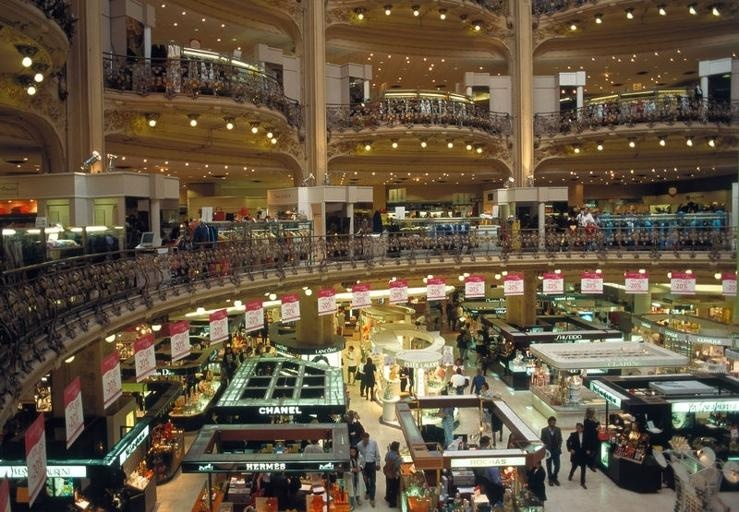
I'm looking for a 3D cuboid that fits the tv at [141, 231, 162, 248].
[{"bbox_3d":[-5.450,-0.389,15.747,0.427,0.464,0.247,1,-7,-19],"label":"tv"}]

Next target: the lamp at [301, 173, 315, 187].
[{"bbox_3d":[-2.347,-2.886,24.256,0.474,0.472,0.773,-1,6,-4],"label":"lamp"}]

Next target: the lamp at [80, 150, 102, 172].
[{"bbox_3d":[-7.438,-2.486,16.825,0.497,0.179,0.503,-16,27,-2],"label":"lamp"}]

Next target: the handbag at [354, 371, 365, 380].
[{"bbox_3d":[-0.355,4.244,22.103,0.379,0.449,0.408,1,-3,-1],"label":"handbag"}]

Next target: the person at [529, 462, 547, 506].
[{"bbox_3d":[3.877,5.254,14.774,0.385,0.934,0.338,0,7,11],"label":"person"}]
